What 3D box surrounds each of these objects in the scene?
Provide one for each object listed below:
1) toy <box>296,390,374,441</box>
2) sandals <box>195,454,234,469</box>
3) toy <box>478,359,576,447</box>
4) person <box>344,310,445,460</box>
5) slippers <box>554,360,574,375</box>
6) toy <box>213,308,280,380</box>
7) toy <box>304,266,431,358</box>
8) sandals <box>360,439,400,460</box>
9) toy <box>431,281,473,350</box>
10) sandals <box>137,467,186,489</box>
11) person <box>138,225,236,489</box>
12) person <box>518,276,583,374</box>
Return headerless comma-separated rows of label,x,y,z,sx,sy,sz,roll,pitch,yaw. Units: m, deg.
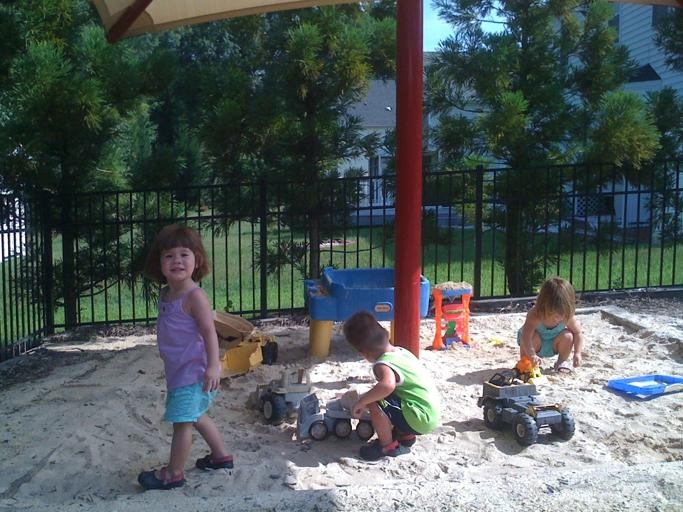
toy,-0.068,1.350,5.836,0.543,0.350,0.352,2,1,-2
sandals,-0.985,1.581,5.398,0.270,0.153,0.122,4,-2,9
toy,1.580,1.229,6.060,0.484,0.722,0.879,0,2,-22
person,0.407,1.076,5.781,0.702,1.170,0.685,-1,4,34
slippers,2.263,1.136,7.074,0.081,0.074,0.245,-4,0,0
toy,-1.075,0.891,7.277,0.508,0.289,0.656,-5,11,-31
toy,0.223,0.491,7.691,1.111,0.880,0.972,0,4,-8
sandals,0.297,1.567,5.569,0.252,0.135,0.151,2,3,10
toy,1.275,0.656,7.951,0.408,0.834,0.267,-3,22,-1
sandals,-1.333,1.658,5.124,0.266,0.138,0.157,10,3,-8
person,-1.187,0.735,5.272,0.707,1.962,0.526,0,2,-10
person,2.123,0.675,7.100,0.816,0.943,0.433,-1,2,-19
